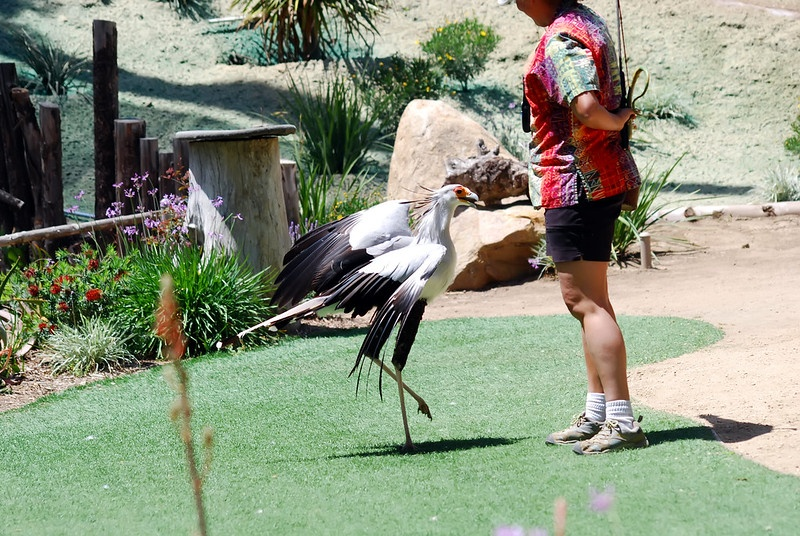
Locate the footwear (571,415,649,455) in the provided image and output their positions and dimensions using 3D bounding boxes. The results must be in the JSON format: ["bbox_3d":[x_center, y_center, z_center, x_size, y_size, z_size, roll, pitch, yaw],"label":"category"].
[{"bbox_3d":[1.562,1.232,7.398,0.576,0.243,0.225,-4,5,-7],"label":"footwear"}]

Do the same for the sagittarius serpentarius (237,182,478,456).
[{"bbox_3d":[-0.257,0.371,7.830,1.376,1.938,0.992,0,6,32],"label":"sagittarius serpentarius"}]

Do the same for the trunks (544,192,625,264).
[{"bbox_3d":[1.309,-0.302,7.456,0.780,0.693,0.445,-2,8,-4],"label":"trunks"}]

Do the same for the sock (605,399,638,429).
[{"bbox_3d":[1.614,1.062,7.274,0.173,0.230,0.237,-4,1,-27],"label":"sock"}]

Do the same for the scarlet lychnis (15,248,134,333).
[{"bbox_3d":[-3.275,0.197,9.988,1.142,0.728,0.796,-4,5,-16],"label":"scarlet lychnis"}]

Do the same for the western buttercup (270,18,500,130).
[{"bbox_3d":[0.445,-4.002,20.282,3.316,1.708,3.208,-9,24,22],"label":"western buttercup"}]

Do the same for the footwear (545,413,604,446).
[{"bbox_3d":[1.306,1.212,7.506,0.485,0.193,0.175,-2,1,0],"label":"footwear"}]
